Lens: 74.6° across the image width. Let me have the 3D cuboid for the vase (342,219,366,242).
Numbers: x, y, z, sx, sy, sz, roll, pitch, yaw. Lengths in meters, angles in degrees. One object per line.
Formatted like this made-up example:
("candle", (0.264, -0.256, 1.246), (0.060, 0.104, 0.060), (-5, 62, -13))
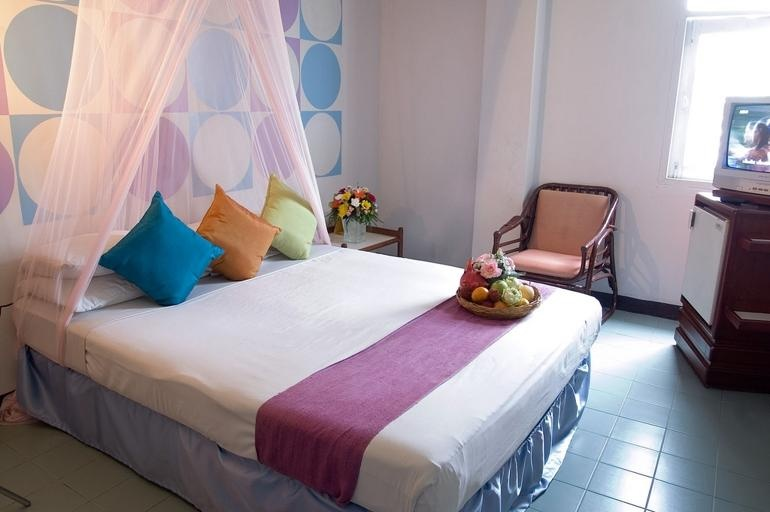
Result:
("vase", (-0.289, -0.294, 5.174), (0.203, 0.268, 0.223), (7, 18, 29))

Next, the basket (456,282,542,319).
("basket", (0.798, 0.335, 3.513), (0.512, 0.149, 0.547), (2, 17, 16))

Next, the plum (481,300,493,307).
("plum", (0.672, 0.317, 3.307), (0.044, 0.041, 0.039), (0, -4, 23))

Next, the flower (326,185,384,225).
("flower", (-0.331, -0.494, 5.171), (0.555, 0.413, 0.518), (-14, 14, -20))

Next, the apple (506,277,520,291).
("apple", (0.854, 0.184, 3.364), (0.060, 0.037, 0.083), (-4, 18, -4))

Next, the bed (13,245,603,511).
("bed", (-0.290, 0.784, 3.384), (3.119, 0.935, 1.996), (7, 18, 17))

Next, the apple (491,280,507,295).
("apple", (0.746, 0.206, 3.322), (0.081, 0.089, 0.085), (16, 7, -15))

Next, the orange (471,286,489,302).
("orange", (0.632, 0.253, 3.378), (0.096, 0.093, 0.094), (12, 43, 44))

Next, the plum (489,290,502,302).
("plum", (0.718, 0.263, 3.321), (0.067, 0.054, 0.066), (-2, 21, -40))

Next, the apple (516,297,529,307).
("apple", (0.904, 0.306, 3.313), (0.049, 0.048, 0.074), (2, 13, 12))
